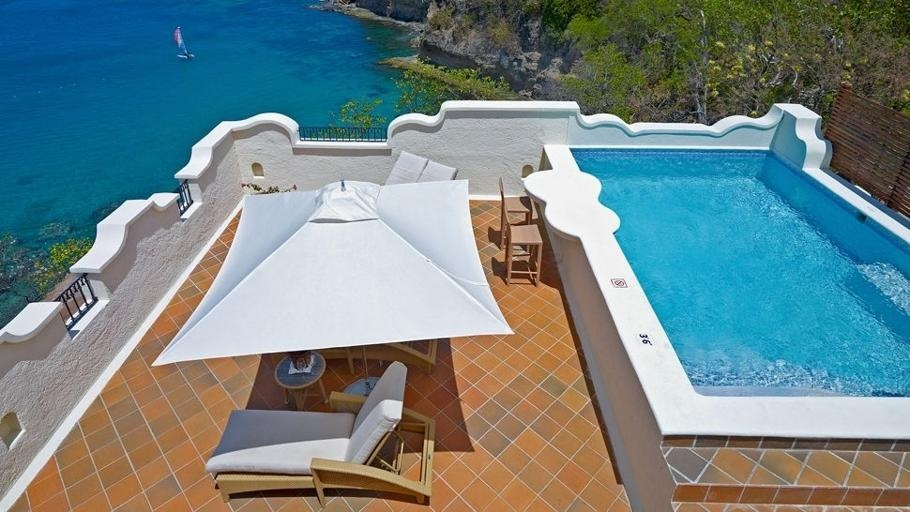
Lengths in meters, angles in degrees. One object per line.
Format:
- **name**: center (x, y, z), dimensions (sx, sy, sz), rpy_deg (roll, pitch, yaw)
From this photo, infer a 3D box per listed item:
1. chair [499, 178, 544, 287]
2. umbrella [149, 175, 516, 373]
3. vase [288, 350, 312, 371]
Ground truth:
- **chair**: center (1.954, -0.583, 15.674), dimensions (1.153, 2.122, 2.839), rpy_deg (-5, 46, 4)
- **umbrella**: center (-2.319, 0.108, 11.706), dimensions (6.259, 2.106, 3.676), rpy_deg (-1, 41, -6)
- **vase**: center (-3.602, 2.441, 12.516), dimensions (0.570, 0.531, 0.429), rpy_deg (-1, 57, -11)
